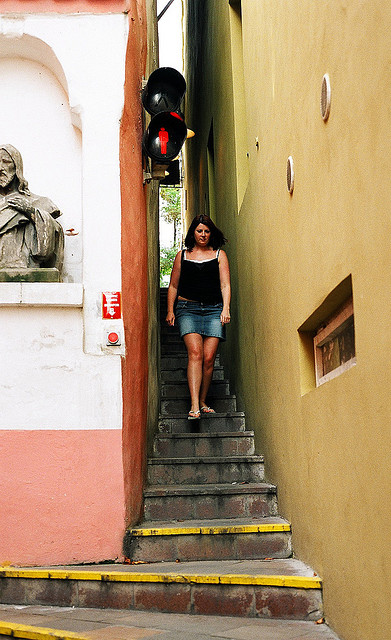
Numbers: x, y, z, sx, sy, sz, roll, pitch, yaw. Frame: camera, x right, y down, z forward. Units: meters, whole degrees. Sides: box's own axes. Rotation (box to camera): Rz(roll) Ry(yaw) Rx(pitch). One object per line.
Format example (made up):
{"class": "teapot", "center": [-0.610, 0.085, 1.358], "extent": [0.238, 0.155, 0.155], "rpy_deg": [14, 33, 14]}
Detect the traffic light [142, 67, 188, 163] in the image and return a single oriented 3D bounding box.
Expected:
{"class": "traffic light", "center": [-0.218, -1.365, 4.119], "extent": [0.304, 0.622, 0.434], "rpy_deg": [-2, 0, -1]}

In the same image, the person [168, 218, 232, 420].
{"class": "person", "center": [0.028, -0.027, 4.979], "extent": [0.517, 1.580, 0.513], "rpy_deg": [-2, 0, -32]}
